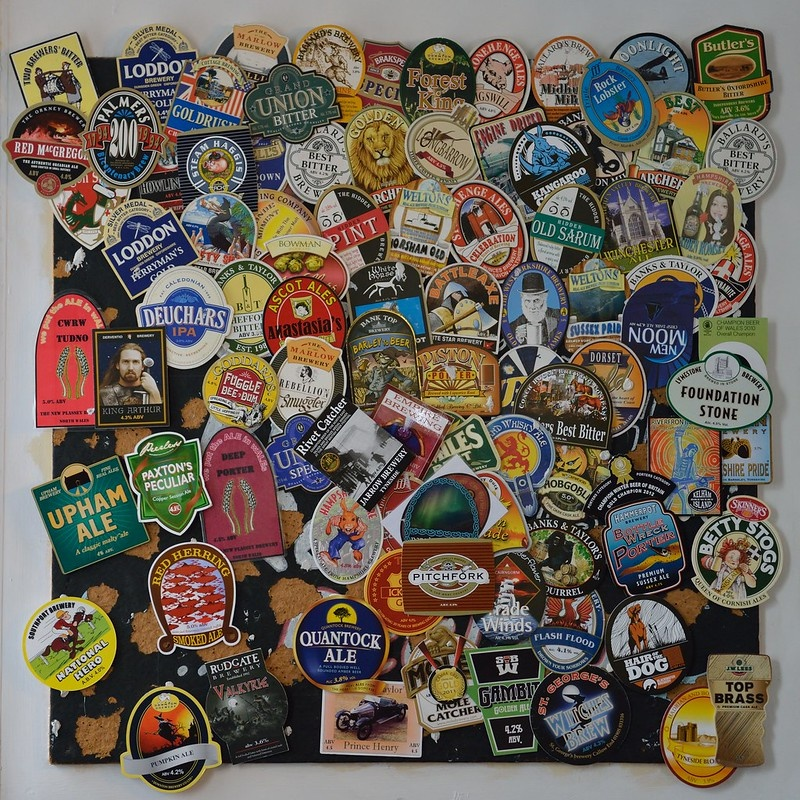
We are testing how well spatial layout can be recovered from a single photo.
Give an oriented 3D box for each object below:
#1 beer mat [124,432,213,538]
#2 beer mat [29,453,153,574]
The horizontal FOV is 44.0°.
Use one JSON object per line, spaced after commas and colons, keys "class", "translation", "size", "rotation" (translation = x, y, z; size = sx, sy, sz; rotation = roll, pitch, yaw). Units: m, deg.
{"class": "beer mat", "translation": [-0.553, 0.207, 2.339], "size": [0.193, 0.246, 0.014], "rotation": [-15, -5, -7]}
{"class": "beer mat", "translation": [-0.743, 0.247, 2.252], "size": [0.254, 0.261, 0.029], "rotation": [-23, -2, -3]}
